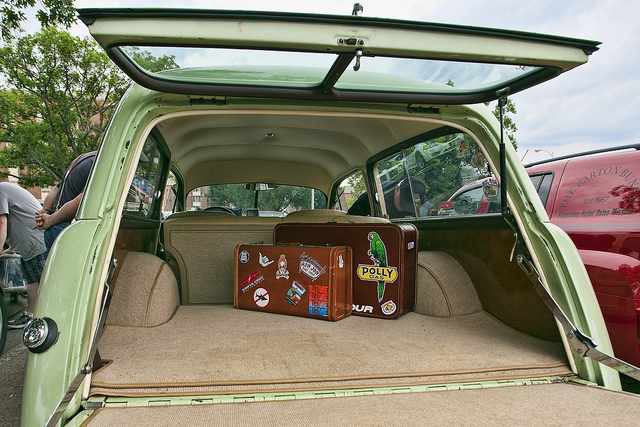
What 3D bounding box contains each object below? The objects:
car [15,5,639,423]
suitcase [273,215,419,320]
[{"bbox_3d":[-0.201,0.219,4.598,3.369,2.704,5.598,2,6,-6],"label":"car"},{"bbox_3d":[0.184,0.470,3.585,1.203,0.791,0.393,0,1,24],"label":"suitcase"}]
